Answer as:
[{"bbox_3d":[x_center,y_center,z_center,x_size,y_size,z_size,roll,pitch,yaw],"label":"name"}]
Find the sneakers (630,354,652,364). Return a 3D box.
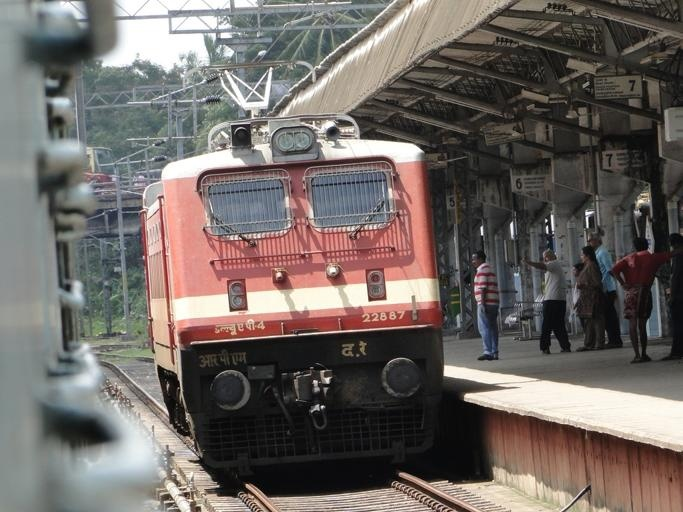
[{"bbox_3d":[3.816,1.310,13.384,0.305,0.128,0.104,3,-4,-31],"label":"sneakers"}]

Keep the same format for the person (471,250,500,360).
[{"bbox_3d":[2.187,0.775,15.796,0.372,1.489,1.198,-5,1,7],"label":"person"}]

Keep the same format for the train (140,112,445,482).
[{"bbox_3d":[-0.484,0.388,10.718,2.750,3.386,2.366,-5,1,-7],"label":"train"}]

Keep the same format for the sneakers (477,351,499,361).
[{"bbox_3d":[2.278,1.548,16.283,0.357,0.176,0.124,3,-3,-12],"label":"sneakers"}]

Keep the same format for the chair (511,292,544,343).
[{"bbox_3d":[4.143,1.365,22.929,0.889,1.134,0.859,0,-2,-18],"label":"chair"}]

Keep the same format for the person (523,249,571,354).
[{"bbox_3d":[3.289,0.728,16.462,0.506,1.459,0.922,-5,1,12],"label":"person"}]
